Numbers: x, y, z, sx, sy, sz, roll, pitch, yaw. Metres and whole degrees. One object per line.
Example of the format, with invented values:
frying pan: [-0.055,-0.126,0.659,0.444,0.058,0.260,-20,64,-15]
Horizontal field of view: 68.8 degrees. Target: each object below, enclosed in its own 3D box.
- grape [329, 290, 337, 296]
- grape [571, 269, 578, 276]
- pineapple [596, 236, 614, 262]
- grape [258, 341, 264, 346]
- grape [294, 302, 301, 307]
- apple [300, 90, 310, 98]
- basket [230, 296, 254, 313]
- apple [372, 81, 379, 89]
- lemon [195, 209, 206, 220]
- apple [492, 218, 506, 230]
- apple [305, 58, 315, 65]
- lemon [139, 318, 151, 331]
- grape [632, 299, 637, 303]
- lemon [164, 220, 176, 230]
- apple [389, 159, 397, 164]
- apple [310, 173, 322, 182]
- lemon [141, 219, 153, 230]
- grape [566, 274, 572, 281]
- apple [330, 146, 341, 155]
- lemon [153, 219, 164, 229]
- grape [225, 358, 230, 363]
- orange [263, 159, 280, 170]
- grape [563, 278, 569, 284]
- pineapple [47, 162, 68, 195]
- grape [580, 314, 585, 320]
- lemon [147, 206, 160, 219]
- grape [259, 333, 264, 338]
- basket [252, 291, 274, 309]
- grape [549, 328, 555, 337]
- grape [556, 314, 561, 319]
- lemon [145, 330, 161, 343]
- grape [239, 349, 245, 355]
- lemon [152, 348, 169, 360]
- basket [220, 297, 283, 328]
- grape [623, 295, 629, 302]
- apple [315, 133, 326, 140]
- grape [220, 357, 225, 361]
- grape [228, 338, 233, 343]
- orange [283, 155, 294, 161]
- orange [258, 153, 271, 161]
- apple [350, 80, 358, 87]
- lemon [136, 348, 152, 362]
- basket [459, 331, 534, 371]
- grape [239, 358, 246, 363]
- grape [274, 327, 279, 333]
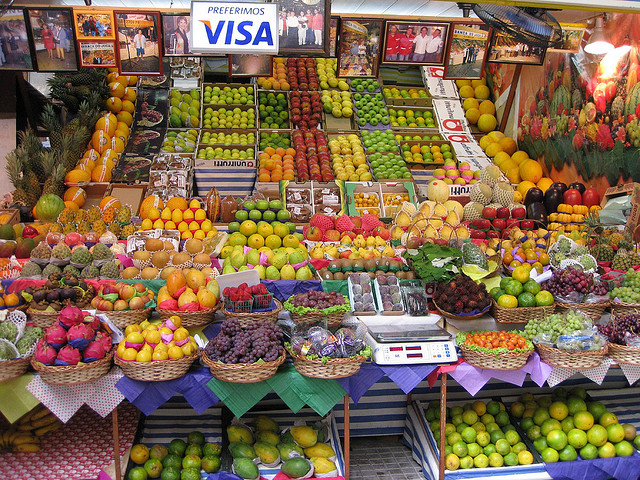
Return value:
grape: [0.101,0.445,3.939,0.036,0.026,0.045,0,8,-13]
grape: [2.227,0.283,4.102,0.036,0.057,0.105,-12,1,17]
pineapple: [2.879,0.099,4.718,0.162,0.194,0.260,11,25,30]
grape: [-0.423,0.728,3.284,0.027,0.016,0.027,-6,8,-26]
grape: [-0.189,0.517,3.728,0.038,0.032,0.030,-1,6,34]
apple: [-0.270,-2.584,8.244,0.110,0.141,0.116,-2,15,-1]
basket: [-0.609,0.508,3.620,0.130,0.072,0.093,1,0,-18]
apple: [1.010,-2.882,8.657,0.098,0.126,0.192,10,25,29]
lemon: [-1.269,-0.268,4.909,0.094,0.098,0.110,16,-38,-18]
apple: [2.227,-0.198,5.821,0.123,0.120,0.123,0,-3,-26]
apple: [-0.218,-3.448,8.967,0.168,0.103,0.176,-2,22,0]
lemon: [-1.334,0.639,3.529,0.063,0.094,0.065,8,25,-12]
grape: [2.712,0.524,4.030,0.023,0.025,0.032,-6,0,-3]
lemon: [-1.558,-0.153,4.827,0.078,0.100,0.081,-6,-19,-8]
apple: [1.113,-1.214,7.190,0.075,0.059,0.097,1,14,0]
apple: [-0.071,-0.918,6.705,0.172,0.097,0.197,-1,22,2]
lemon: [-1.785,-0.159,4.799,0.098,0.124,0.099,5,-24,-5]
grape: [2.177,0.317,4.086,0.030,0.033,0.041,16,-6,2]
apple: [0.236,-1.438,7.487,0.131,0.112,0.108,3,-12,-1]
lemon: [-1.663,-0.163,4.799,0.083,0.107,0.085,12,43,20]
grape: [-0.654,0.841,3.270,0.023,0.024,0.023,0,2,-5]
orange: [-0.737,-1.105,6.829,0.154,0.164,0.160,8,-18,2]
grape: [2.148,0.350,4.083,0.033,0.043,0.035,-1,-14,4]
pineapple: [-3.423,-0.798,6.088,0.164,0.355,0.394,-4,22,-4]
grape: [2.069,0.607,3.690,0.035,0.012,0.036,-7,-15,3]
lemon: [-1.743,-0.287,4.878,0.107,0.146,0.110,7,3,-14]
grape: [-0.423,0.676,3.334,0.031,0.011,0.033,-4,22,-5]
basket: [-0.466,0.476,3.698,0.131,0.098,0.191,0,-5,-10]
grape: [1.811,0.718,3.654,0.039,0.048,0.039,1,-24,-42]
grape: [1.885,0.602,3.695,0.030,0.018,0.024,-14,26,-39]
lemon: [-1.202,0.694,3.347,0.083,0.100,0.087,20,13,-8]
grape: [-0.551,0.781,3.261,0.037,0.043,0.012,-12,23,-23]
lemon: [-1.145,0.804,3.285,0.069,0.072,0.071,1,-14,-11]
basket: [-0.543,0.510,3.720,0.449,0.175,0.376,-3,13,-10]
grape: [2.640,0.504,4.042,0.039,0.048,0.040,4,-17,1]
apple: [-0.003,-1.714,7.669,0.185,0.081,0.147,-6,22,-8]
grape: [-0.697,0.839,3.298,0.022,0.022,0.022,-33,-6,10]
grape: [-0.642,0.713,3.326,0.023,0.023,0.024,-12,38,-16]
orange: [-0.505,-1.259,7.052,0.099,0.080,0.080,5,47,5]
orange: [-0.843,-1.264,7.055,0.113,0.120,0.133,19,5,-37]
apple: [0.604,-2.846,8.487,0.120,0.108,0.106,18,9,1]
lemon: [-1.242,0.816,3.275,0.077,0.094,0.079,-15,28,-9]
basket: [1.354,0.842,3.723,0.477,0.204,0.434,-2,13,-13]
grape: [-0.552,0.845,3.278,0.032,0.020,0.014,-7,25,-30]
grape: [-0.324,0.655,3.417,0.043,0.025,0.028,-15,25,-28]
